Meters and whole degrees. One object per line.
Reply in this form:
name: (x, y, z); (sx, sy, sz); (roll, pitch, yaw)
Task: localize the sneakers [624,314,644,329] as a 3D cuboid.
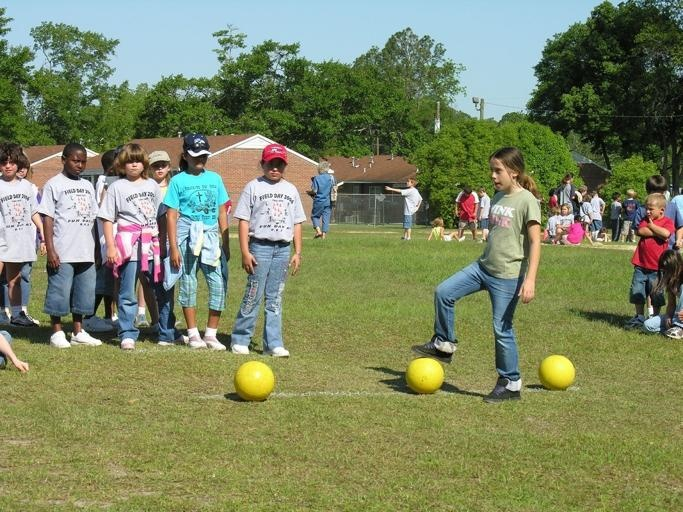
sneakers: (4.239, 0.955, 15.158); (0.360, 0.140, 0.131); (1, -6, -44)

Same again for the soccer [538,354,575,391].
soccer: (2.525, 1.344, 12.213); (0.468, 0.384, 0.381); (0, 37, 15)

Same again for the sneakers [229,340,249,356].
sneakers: (-1.268, 1.171, 13.229); (0.183, 0.128, 0.132); (-4, 9, -10)

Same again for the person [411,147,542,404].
person: (1.728, 0.182, 11.850); (1.127, 2.782, 0.796); (13, 17, 34)

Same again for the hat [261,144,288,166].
hat: (-0.830, -1.283, 13.172); (0.315, 0.245, 0.536); (2, 13, -3)

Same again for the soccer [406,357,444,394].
soccer: (0.989, 1.350, 12.042); (0.478, 0.432, 0.441); (1, 24, 4)

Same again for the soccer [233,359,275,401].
soccer: (-0.959, 1.384, 11.602); (0.434, 0.403, 0.294); (1, 14, -7)

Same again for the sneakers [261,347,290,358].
sneakers: (-0.804, 1.220, 13.227); (0.286, 0.107, 0.126); (-3, -3, 20)

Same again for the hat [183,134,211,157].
hat: (-1.848, -1.385, 13.224); (0.257, 0.189, 0.353); (-1, 7, -23)

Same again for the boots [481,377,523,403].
boots: (1.737, 1.501, 11.763); (0.541, 0.216, 0.188); (1, -3, -31)
